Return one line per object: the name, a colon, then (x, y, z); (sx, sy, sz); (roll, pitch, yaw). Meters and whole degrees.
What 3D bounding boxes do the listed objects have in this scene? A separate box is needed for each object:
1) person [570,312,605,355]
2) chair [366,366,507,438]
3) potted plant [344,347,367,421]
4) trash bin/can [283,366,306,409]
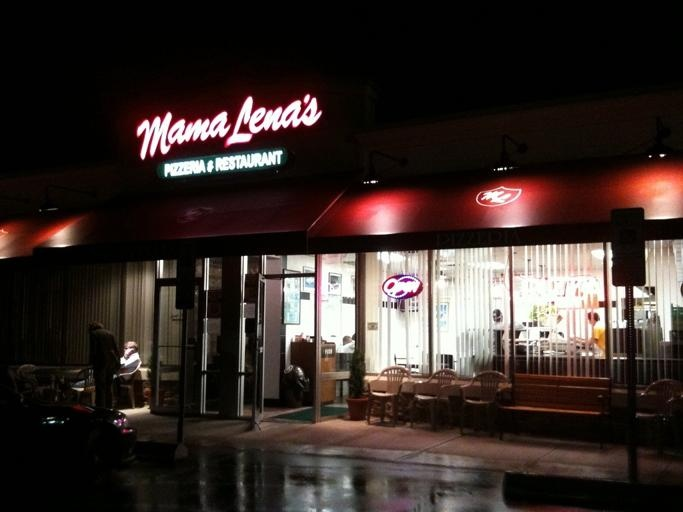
person: (4.907, 1.525, 12.436); (0.642, 1.182, 0.843); (-2, -4, 21)
chair: (1.891, 2.890, 12.675); (2.956, 1.195, 0.801); (-6, -11, 34)
potted plant: (0.339, 2.808, 13.552); (0.433, 1.527, 0.500); (0, -9, -1)
trash bin/can: (-1.127, 3.187, 15.125); (0.614, 0.974, 0.394); (3, -9, -14)
